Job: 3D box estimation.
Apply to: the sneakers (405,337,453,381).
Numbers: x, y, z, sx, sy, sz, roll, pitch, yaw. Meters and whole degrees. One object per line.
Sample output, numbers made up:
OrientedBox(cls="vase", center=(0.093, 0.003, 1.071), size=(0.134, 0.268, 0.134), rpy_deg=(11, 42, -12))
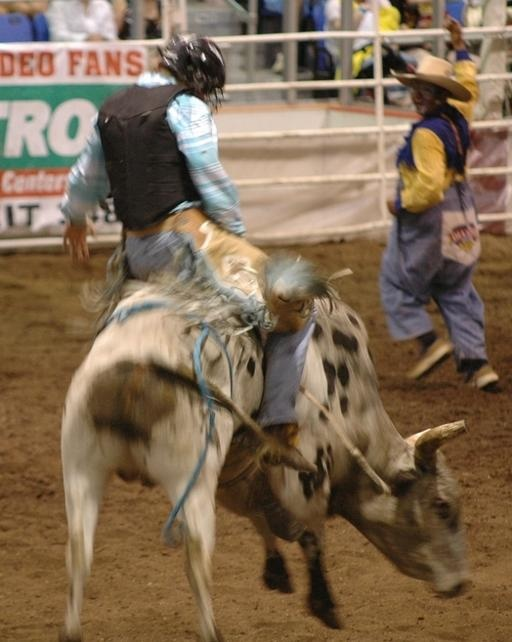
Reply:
OrientedBox(cls="sneakers", center=(0.962, 0.210, 5.611), size=(0.118, 0.331, 0.132), rpy_deg=(46, 12, -22))

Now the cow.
OrientedBox(cls="cow", center=(0.038, 0.576, 3.584), size=(1.455, 1.644, 0.733), rpy_deg=(-11, 22, -33))

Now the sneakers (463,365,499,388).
OrientedBox(cls="sneakers", center=(1.285, 0.318, 5.833), size=(0.098, 0.097, 0.247), rpy_deg=(-23, 3, -7))

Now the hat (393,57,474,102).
OrientedBox(cls="hat", center=(0.919, -1.266, 5.346), size=(0.383, 0.223, 0.366), rpy_deg=(1, 17, -1))
